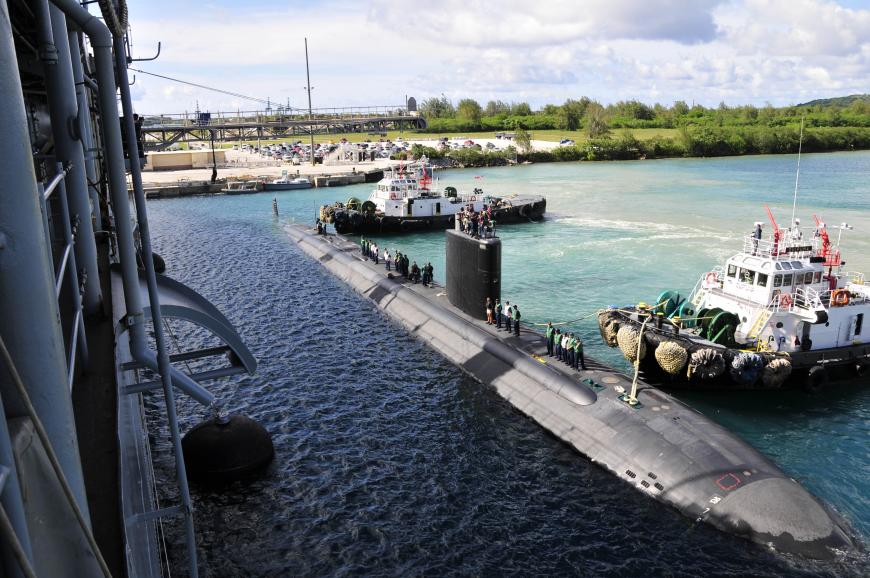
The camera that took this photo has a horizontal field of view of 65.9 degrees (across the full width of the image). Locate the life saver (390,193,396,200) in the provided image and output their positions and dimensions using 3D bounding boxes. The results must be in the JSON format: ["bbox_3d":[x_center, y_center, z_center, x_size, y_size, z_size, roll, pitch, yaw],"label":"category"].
[{"bbox_3d":[-3.263,-7.181,52.424,0.448,0.282,0.437,11,18,16],"label":"life saver"}]
